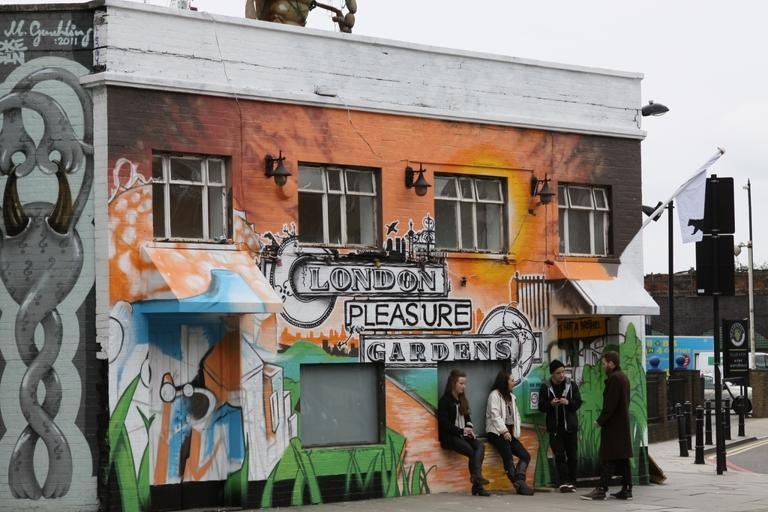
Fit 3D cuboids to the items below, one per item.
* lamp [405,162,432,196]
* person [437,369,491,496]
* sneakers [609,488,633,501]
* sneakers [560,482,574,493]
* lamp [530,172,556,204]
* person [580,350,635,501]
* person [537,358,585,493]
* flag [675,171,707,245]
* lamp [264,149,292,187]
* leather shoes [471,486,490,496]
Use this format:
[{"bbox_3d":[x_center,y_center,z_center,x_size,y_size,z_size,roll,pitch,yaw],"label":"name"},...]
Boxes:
[{"bbox_3d":[0.725,-1.577,30.142,0.502,0.671,0.422,-2,-3,24],"label":"lamp"},{"bbox_3d":[1.603,3.661,29.724,0.985,2.565,0.539,-1,-8,0],"label":"person"},{"bbox_3d":[4.808,4.819,29.214,0.172,0.235,0.519,0,1,-27],"label":"sneakers"},{"bbox_3d":[3.790,4.809,29.821,0.137,0.146,0.305,-1,-3,28],"label":"sneakers"},{"bbox_3d":[3.452,-1.452,31.160,0.544,0.644,0.355,1,-9,-13],"label":"lamp"},{"bbox_3d":[4.607,3.440,29.178,0.768,2.960,0.594,-2,-8,9],"label":"person"},{"bbox_3d":[3.696,3.541,30.060,0.874,2.714,0.583,-2,-8,8],"label":"person"},{"bbox_3d":[7.057,-1.102,32.994,0.880,1.652,0.524,-7,-10,35],"label":"flag"},{"bbox_3d":[-2.123,-1.746,29.065,0.531,0.671,0.437,1,1,21],"label":"lamp"},{"bbox_3d":[1.963,4.808,29.416,0.422,0.233,0.148,-4,-4,28],"label":"leather shoes"}]
